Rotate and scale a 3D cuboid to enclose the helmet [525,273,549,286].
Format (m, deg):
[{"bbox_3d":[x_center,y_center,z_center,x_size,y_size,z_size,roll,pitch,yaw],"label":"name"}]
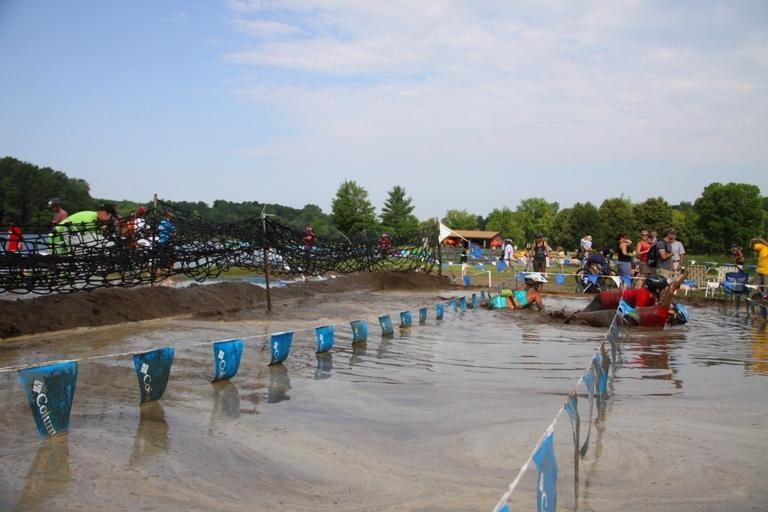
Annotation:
[{"bbox_3d":[4.051,0.565,16.419,0.724,0.284,0.428,1,-5,-3],"label":"helmet"}]

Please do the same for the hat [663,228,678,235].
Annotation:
[{"bbox_3d":[8.200,-0.776,18.225,0.347,0.266,0.374,15,10,37],"label":"hat"}]

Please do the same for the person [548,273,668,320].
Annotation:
[{"bbox_3d":[5.174,1.091,14.424,2.532,0.940,1.231,-12,13,22],"label":"person"}]

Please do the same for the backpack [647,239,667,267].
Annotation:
[{"bbox_3d":[7.808,-0.076,18.159,0.300,0.763,0.782,1,4,-4],"label":"backpack"}]

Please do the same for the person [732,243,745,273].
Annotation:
[{"bbox_3d":[11.907,0.025,21.281,0.331,0.859,2.171,3,4,28],"label":"person"}]

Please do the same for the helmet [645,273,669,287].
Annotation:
[{"bbox_3d":[5.817,0.555,13.457,0.429,0.202,0.299,14,32,14],"label":"helmet"}]

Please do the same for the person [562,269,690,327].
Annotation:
[{"bbox_3d":[5.242,1.057,13.942,2.142,0.729,1.488,-6,-7,17],"label":"person"}]

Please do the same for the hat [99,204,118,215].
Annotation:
[{"bbox_3d":[-6.717,-1.159,15.416,0.367,0.291,0.271,-15,15,2],"label":"hat"}]

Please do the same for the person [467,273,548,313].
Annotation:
[{"bbox_3d":[3.602,1.034,17.324,2.010,0.747,1.257,-10,23,2],"label":"person"}]

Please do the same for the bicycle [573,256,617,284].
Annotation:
[{"bbox_3d":[6.971,0.298,21.425,0.931,1.062,1.195,0,-34,31],"label":"bicycle"}]
